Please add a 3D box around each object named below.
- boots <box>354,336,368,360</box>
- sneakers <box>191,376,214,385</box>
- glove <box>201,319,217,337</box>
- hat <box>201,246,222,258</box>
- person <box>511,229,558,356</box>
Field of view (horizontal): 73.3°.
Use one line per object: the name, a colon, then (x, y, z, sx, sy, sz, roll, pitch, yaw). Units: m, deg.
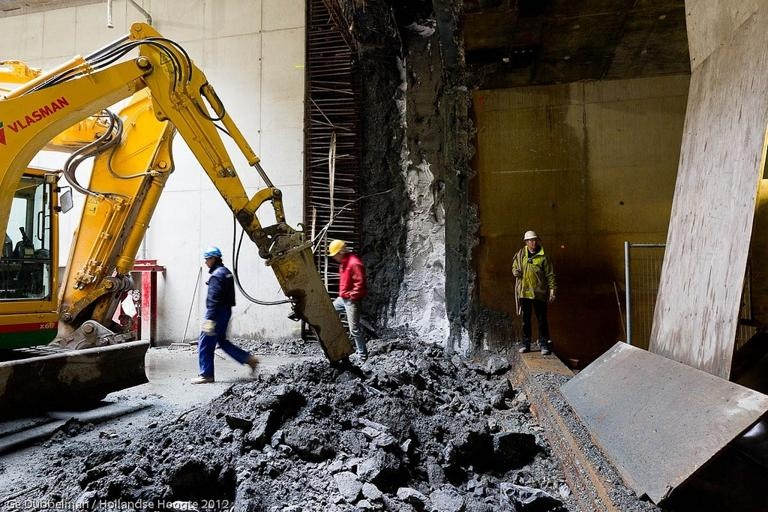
boots: (-0.358, 1.424, 7.961, 0.138, 0.121, 0.405, -27, -35, -6)
sneakers: (-2.704, 1.855, 7.765, 0.306, 0.143, 0.126, 4, -4, 1)
glove: (-2.504, 1.024, 7.389, 0.189, 0.185, 0.199, 0, -1, 6)
hat: (-2.880, -0.065, 8.626, 0.288, 0.167, 0.219, 8, -2, 11)
person: (2.337, 0.563, 8.042, 0.617, 1.913, 0.437, 1, 2, 25)
